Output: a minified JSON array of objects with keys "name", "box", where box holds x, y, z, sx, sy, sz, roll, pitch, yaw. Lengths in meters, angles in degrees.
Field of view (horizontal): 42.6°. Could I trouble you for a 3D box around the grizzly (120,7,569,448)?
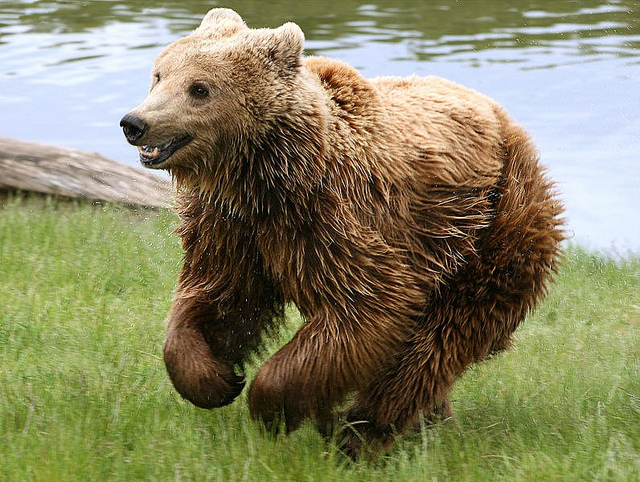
[{"name":"grizzly","box":[0.134,-0.043,5.584,2.724,2.733,1.216,-4,22,-13]}]
